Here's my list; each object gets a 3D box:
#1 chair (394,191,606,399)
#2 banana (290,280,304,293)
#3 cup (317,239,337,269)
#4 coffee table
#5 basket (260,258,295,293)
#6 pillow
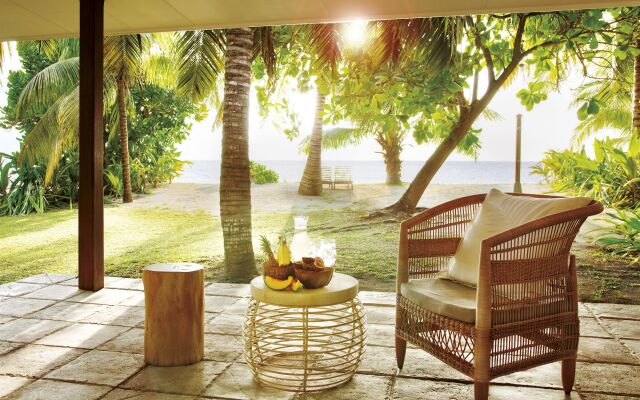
[{"bbox_3d":[1.677,0.909,4.897,1.557,1.908,1.155,-3,7,-24],"label":"chair"},{"bbox_3d":[-0.225,0.822,4.687,0.109,0.106,0.051,35,-20,-24],"label":"banana"},{"bbox_3d":[0.067,0.534,4.969,0.158,0.242,0.346,1,5,6],"label":"cup"},{"bbox_3d":[-0.184,1.401,4.946,1.287,0.833,1.203,0,2,-8],"label":"coffee table"},{"bbox_3d":[-0.396,0.727,4.786,0.312,0.194,0.288,2,1,-5],"label":"basket"},{"bbox_3d":[1.961,0.426,4.966,0.639,1.004,1.168,-1,5,-32],"label":"pillow"}]
